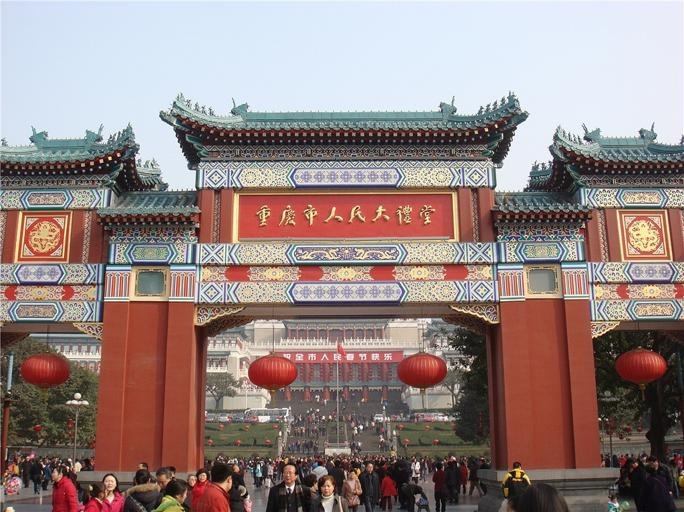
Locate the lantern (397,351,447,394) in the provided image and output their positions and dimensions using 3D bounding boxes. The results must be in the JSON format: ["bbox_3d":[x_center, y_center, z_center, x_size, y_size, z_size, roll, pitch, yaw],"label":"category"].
[{"bbox_3d":[1.999,3.011,22.963,1.045,0.805,1.036,2,-11,-12],"label":"lantern"}]

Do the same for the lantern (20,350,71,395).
[{"bbox_3d":[-7.623,2.985,22.952,1.032,1.029,0.970,-10,-14,44],"label":"lantern"}]

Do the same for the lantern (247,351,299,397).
[{"bbox_3d":[-1.791,3.001,22.658,1.011,0.897,1.068,7,-17,-31],"label":"lantern"}]

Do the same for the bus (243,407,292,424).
[{"bbox_3d":[-5.576,12.108,67.872,3.908,1.242,1.280,1,-24,6],"label":"bus"}]

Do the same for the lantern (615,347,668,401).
[{"bbox_3d":[7.479,2.978,22.872,1.178,1.323,1.216,-1,-13,2],"label":"lantern"}]
